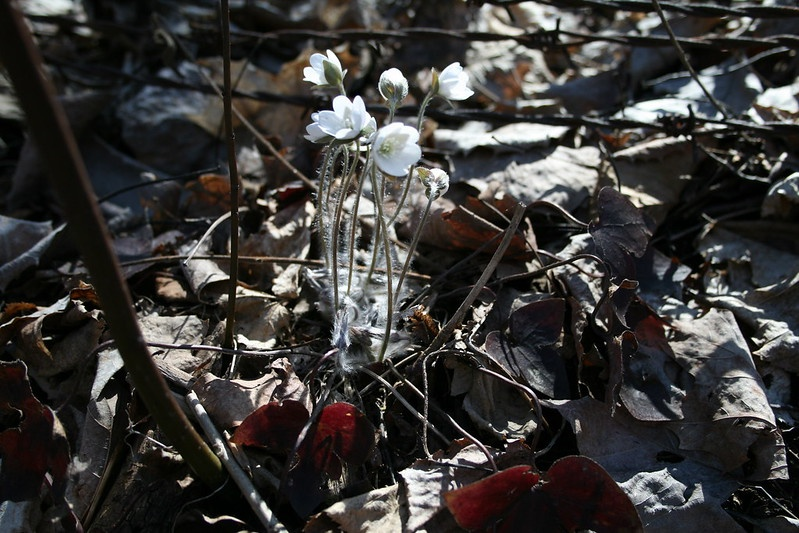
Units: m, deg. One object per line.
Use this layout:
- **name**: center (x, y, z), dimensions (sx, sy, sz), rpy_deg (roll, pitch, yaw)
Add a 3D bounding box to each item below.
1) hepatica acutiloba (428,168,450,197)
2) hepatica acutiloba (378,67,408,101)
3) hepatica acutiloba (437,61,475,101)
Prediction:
- **hepatica acutiloba**: center (0.108, -0.226, 2.101), dimensions (0.057, 0.023, 0.072), rpy_deg (3, -89, -10)
- **hepatica acutiloba**: center (-0.015, -0.480, 2.066), dimensions (0.068, 0.054, 0.089), rpy_deg (-2, -95, -10)
- **hepatica acutiloba**: center (0.142, -0.489, 2.104), dimensions (0.090, 0.058, 0.106), rpy_deg (-44, -56, -14)
